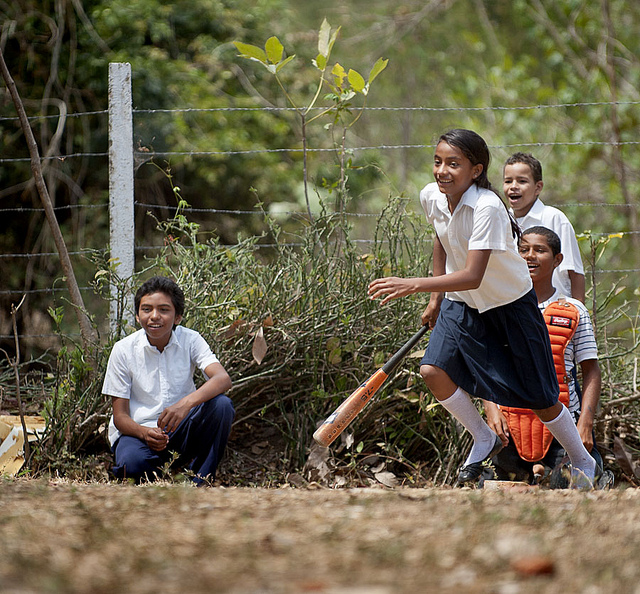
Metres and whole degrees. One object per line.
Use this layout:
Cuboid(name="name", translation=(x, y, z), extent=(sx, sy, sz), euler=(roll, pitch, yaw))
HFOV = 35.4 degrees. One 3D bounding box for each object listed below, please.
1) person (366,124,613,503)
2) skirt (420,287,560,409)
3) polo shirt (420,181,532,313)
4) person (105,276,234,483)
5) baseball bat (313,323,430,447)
Cuboid(name="person", translation=(0.696, 0.054, 4.249), extent=(0.931, 1.501, 0.497), euler=(2, 11, 3))
Cuboid(name="skirt", translation=(0.736, 0.201, 4.355), extent=(0.457, 0.567, 0.596), euler=(2, 1, 36))
Cuboid(name="polo shirt", translation=(0.671, -0.250, 4.318), extent=(0.421, 0.607, 0.350), euler=(-5, 9, -39))
Cuboid(name="person", translation=(-0.699, 0.453, 4.575), extent=(0.618, 1.065, 0.634), euler=(-2, 1, 10))
Cuboid(name="baseball bat", translation=(0.247, 0.449, 4.884), extent=(0.860, 0.096, 0.092), euler=(-42, 3, -24))
